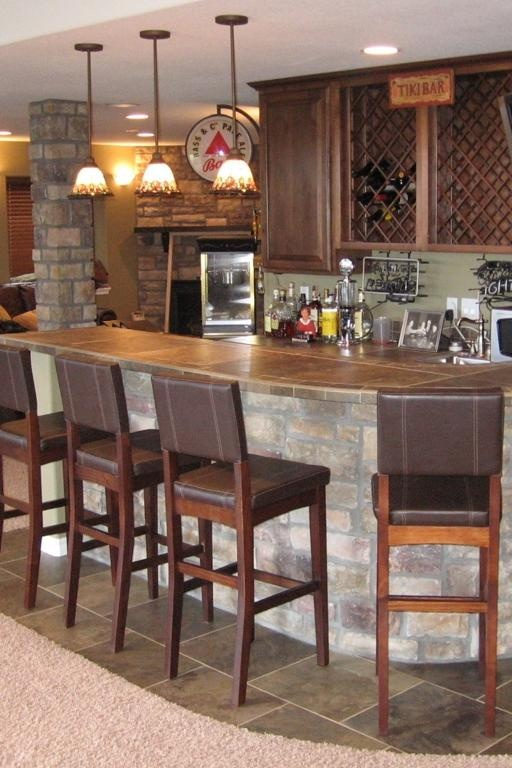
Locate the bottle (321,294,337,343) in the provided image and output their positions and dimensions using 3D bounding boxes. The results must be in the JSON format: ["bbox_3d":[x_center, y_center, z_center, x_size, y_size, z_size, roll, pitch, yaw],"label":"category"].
[{"bbox_3d":[0.427,-0.405,3.916,0.098,0.289,0.198,0,10,4],"label":"bottle"}]

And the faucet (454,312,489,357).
[{"bbox_3d":[1.122,-0.255,3.503,0.087,0.229,0.183,-6,-4,-24],"label":"faucet"}]

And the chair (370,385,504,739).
[{"bbox_3d":[0.477,0.441,1.751,0.339,0.935,0.445,1,10,9],"label":"chair"}]

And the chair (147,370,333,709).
[{"bbox_3d":[-0.070,0.441,2.150,0.561,1.022,0.595,7,13,38],"label":"chair"}]

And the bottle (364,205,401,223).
[{"bbox_3d":[0.736,-0.983,3.798,0.238,0.093,0.069,8,13,37],"label":"bottle"}]

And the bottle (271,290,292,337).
[{"bbox_3d":[0.152,-0.437,4.141,0.133,0.285,0.130,-1,10,0],"label":"bottle"}]

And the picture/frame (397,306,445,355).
[{"bbox_3d":[0.867,-0.274,3.466,0.020,0.270,0.272,4,10,-39],"label":"picture/frame"}]

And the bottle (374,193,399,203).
[{"bbox_3d":[0.732,-1.031,3.690,0.052,0.077,0.161,-9,13,-38],"label":"bottle"}]
